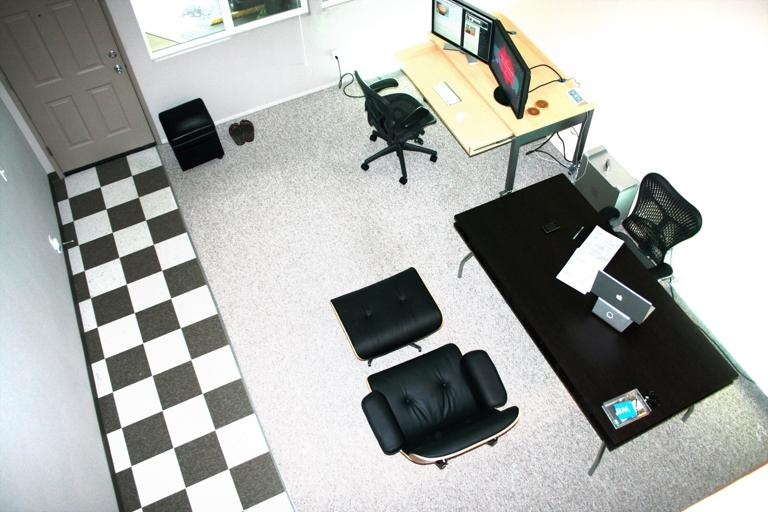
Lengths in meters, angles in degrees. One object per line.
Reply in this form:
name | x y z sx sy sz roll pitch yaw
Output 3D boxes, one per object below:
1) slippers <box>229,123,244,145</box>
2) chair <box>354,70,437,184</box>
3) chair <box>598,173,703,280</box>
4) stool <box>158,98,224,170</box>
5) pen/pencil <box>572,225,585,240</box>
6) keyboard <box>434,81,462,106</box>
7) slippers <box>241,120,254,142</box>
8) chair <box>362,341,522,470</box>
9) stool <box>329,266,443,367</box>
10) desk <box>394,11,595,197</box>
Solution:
slippers | -1.771 -1.429 6.518 0.153 0.255 0.084 -18 0 -6
chair | 0.140 -1.392 6.156 0.786 0.838 1.045 -28 -18 -3
chair | 2.481 -0.242 4.998 0.556 0.555 0.826 -34 -8 -2
stool | -2.190 -1.373 6.504 0.712 0.828 0.714 -23 16 -11
pen/pencil | 1.773 -0.203 4.966 0.150 0.021 0.026 -49 16 -15
keyboard | 0.671 -1.715 5.773 0.207 0.359 0.019 -28 -23 -12
slippers | -1.643 -1.492 6.534 0.171 0.237 0.077 -4 0 -7
chair | 0.521 1.388 4.723 1.199 1.029 1.204 -21 3 -2
stool | 0.027 0.537 4.889 0.942 0.722 0.465 -20 -18 -6
desk | 1.168 -1.718 6.348 1.446 2.018 1.073 -21 -34 -9
